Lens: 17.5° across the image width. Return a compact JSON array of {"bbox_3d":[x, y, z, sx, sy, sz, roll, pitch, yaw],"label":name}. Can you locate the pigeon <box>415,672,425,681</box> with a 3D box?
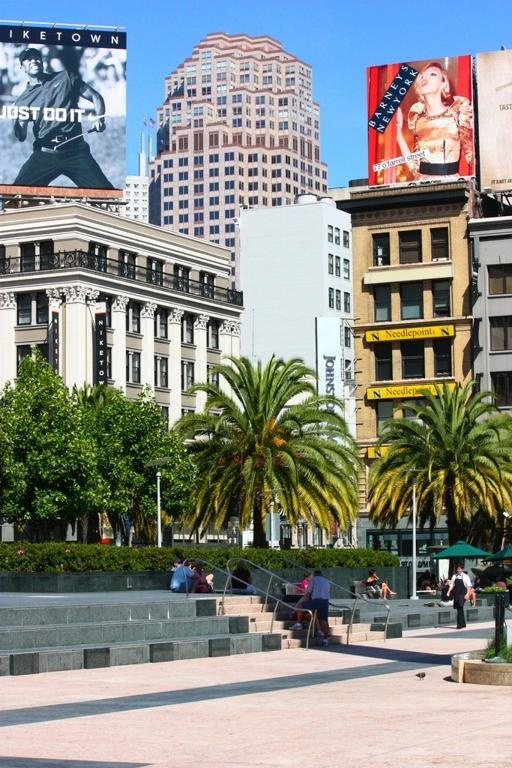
[{"bbox_3d":[2.354,4.092,23.463,0.067,0.133,0.168,2,-13,-18],"label":"pigeon"}]

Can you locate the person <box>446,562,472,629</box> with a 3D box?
[{"bbox_3d":[4.708,4.911,38.445,0.394,1.409,0.395,-5,-8,35],"label":"person"}]

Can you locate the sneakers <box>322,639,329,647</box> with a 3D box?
[{"bbox_3d":[1.386,4.991,32.294,0.083,0.145,0.135,4,-11,-27],"label":"sneakers"}]

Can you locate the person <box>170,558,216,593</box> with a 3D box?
[{"bbox_3d":[-1.462,4.301,37.426,0.623,1.013,1.247,-3,-5,37],"label":"person"}]

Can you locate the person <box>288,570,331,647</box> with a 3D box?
[{"bbox_3d":[1.093,4.378,32.684,0.693,1.407,1.840,-1,-7,1],"label":"person"}]

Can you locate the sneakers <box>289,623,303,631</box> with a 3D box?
[{"bbox_3d":[0.823,4.841,33.292,0.094,0.149,0.277,2,1,-43],"label":"sneakers"}]
